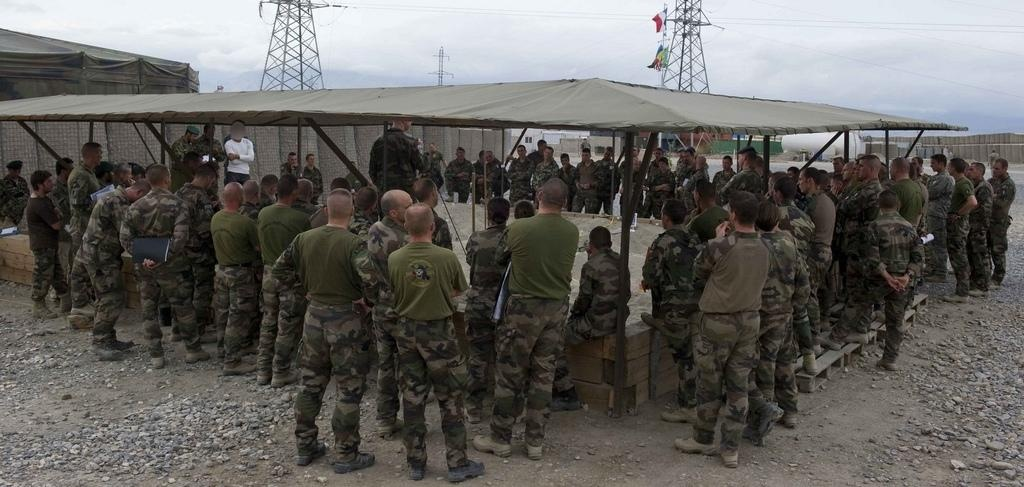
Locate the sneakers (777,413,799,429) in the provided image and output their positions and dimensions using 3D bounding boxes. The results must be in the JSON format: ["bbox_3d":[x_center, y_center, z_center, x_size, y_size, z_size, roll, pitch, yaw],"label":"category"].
[{"bbox_3d":[4.306,2.714,11.950,0.189,0.116,0.317,-1,-1,-26],"label":"sneakers"}]

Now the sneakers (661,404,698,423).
[{"bbox_3d":[2.627,2.629,12.054,0.598,0.210,0.203,2,4,4],"label":"sneakers"}]

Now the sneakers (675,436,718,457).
[{"bbox_3d":[2.763,2.975,11.535,0.638,0.240,0.241,6,5,13],"label":"sneakers"}]

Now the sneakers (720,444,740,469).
[{"bbox_3d":[3.226,3.089,11.251,0.185,0.157,0.407,1,6,8],"label":"sneakers"}]

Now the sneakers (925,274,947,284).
[{"bbox_3d":[9.184,0.751,16.558,0.476,0.158,0.162,2,6,21],"label":"sneakers"}]

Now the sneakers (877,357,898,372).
[{"bbox_3d":[6.463,2.045,13.145,0.167,0.145,0.336,-2,11,-5],"label":"sneakers"}]
